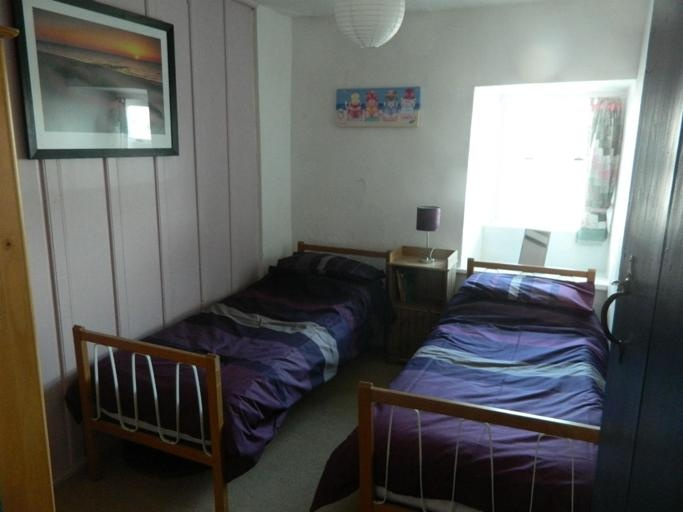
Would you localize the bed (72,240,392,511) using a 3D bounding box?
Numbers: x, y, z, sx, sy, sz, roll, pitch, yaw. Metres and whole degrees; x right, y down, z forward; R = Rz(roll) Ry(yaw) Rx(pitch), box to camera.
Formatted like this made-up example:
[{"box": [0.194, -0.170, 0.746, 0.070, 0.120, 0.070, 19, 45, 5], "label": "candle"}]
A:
[{"box": [-0.489, 0.540, 3.438, 0.948, 0.660, 1.615, 5, 13, 24], "label": "bed"}]

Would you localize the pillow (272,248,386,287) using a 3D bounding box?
[{"box": [-0.091, 0.091, 4.281, 0.620, 0.147, 0.356, 7, 9, 18], "label": "pillow"}]

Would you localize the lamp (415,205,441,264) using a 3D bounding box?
[{"box": [0.658, -0.179, 4.272, 0.189, 0.425, 0.295, 3, 14, 8], "label": "lamp"}]

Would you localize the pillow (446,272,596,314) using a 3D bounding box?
[{"box": [1.248, 0.233, 3.809, 0.628, 0.111, 0.420, 3, 17, 22], "label": "pillow"}]
